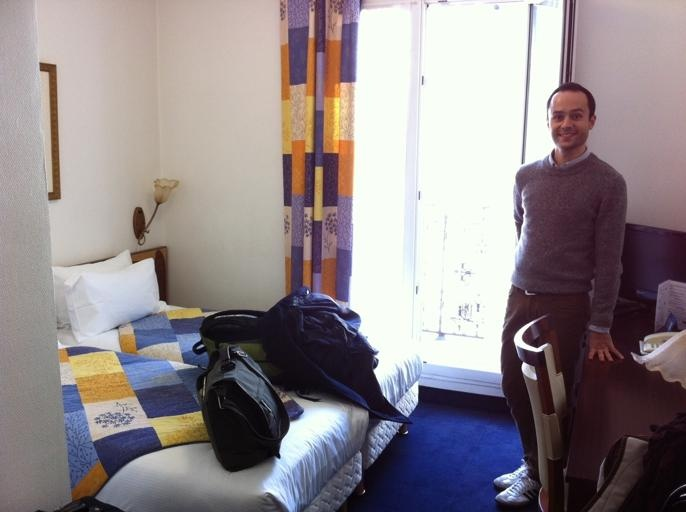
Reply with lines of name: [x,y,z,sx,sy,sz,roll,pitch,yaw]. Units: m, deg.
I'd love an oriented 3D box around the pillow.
pillow: [-1.572,0.275,3.372,0.155,0.330,0.503,-24,-1,30]

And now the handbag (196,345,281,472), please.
handbag: [-0.451,0.474,2.224,0.310,0.349,0.709,-11,8,-13]

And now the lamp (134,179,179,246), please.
lamp: [-1.510,-0.365,4.174,0.383,0.532,0.265,-5,10,-19]

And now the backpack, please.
backpack: [-0.594,0.516,2.900,0.405,0.280,0.333,-5,6,12]
